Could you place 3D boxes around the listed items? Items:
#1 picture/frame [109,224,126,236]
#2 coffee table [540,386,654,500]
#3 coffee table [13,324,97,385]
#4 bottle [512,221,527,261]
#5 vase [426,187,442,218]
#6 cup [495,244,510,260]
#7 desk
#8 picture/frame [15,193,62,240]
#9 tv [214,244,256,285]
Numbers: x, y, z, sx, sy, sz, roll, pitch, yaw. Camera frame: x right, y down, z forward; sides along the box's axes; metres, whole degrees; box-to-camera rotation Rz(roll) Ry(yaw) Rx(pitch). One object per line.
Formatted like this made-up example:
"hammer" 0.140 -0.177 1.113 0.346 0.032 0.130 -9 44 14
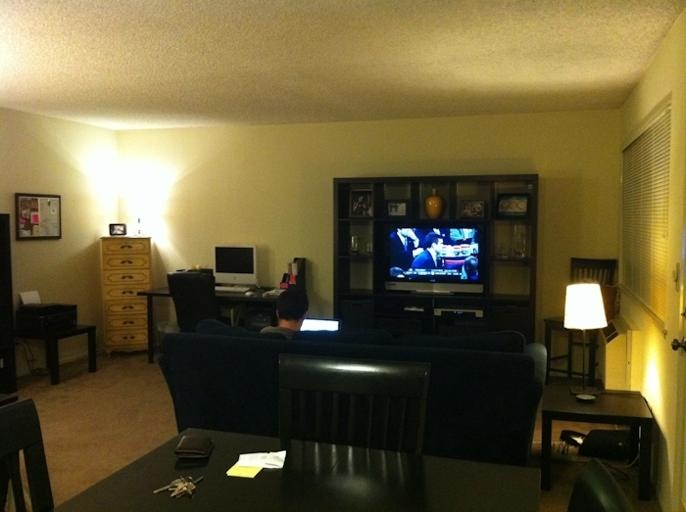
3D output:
"picture/frame" -2.853 -0.340 7.108 0.199 0.141 0.133 -8 14 -26
"coffee table" 1.920 1.350 4.154 0.723 0.547 1.072 -3 -5 31
"coffee table" -3.136 1.011 6.166 0.613 0.620 0.628 0 1 22
"bottle" 1.952 -0.172 6.123 0.165 0.328 0.204 3 13 17
"vase" 1.048 -0.607 6.380 0.198 0.320 0.235 1 13 9
"cup" 1.781 -0.052 6.219 0.157 0.122 0.160 0 6 0
"desk" -1.436 1.022 6.855 1.636 0.844 0.905 -1 -2 8
"picture/frame" -3.443 -0.451 6.273 0.047 0.516 0.504 3 7 26
"tv" -1.330 0.120 6.957 0.443 0.414 0.161 2 8 16
